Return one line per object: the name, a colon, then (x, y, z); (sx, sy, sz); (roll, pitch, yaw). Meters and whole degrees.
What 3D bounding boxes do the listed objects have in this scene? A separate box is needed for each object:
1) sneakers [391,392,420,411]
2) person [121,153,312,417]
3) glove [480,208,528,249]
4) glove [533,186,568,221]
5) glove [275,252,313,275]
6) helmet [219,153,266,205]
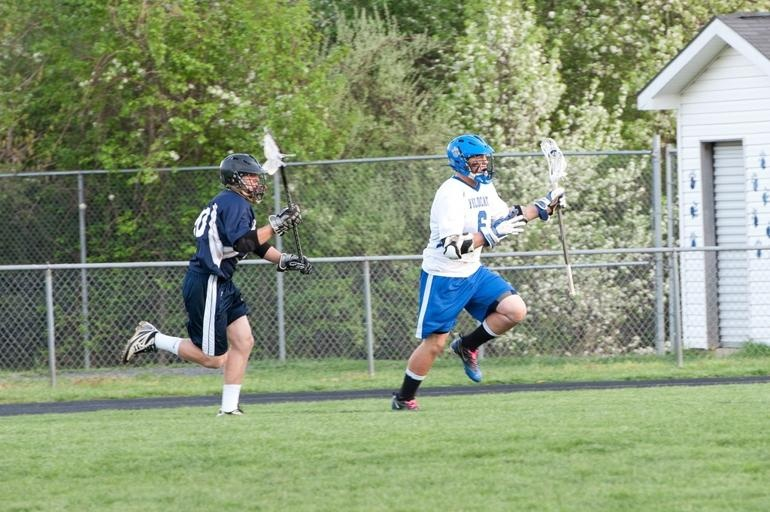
sneakers: (0.223, 1.777, 14.769); (0.358, 0.172, 0.157); (-3, -6, 8)
person: (-1.956, 0.341, 14.551); (1.852, 3.092, 0.780); (0, -3, 4)
glove: (1.464, -0.321, 14.741); (0.636, 0.402, 0.262); (-24, -19, 1)
glove: (2.023, -0.602, 14.873); (0.299, 0.493, 0.205); (48, 0, 32)
glove: (-1.088, 0.094, 14.714); (0.368, 0.124, 0.250); (1, -10, -13)
helmet: (-1.729, -0.941, 14.619); (0.673, 0.483, 0.479); (4, 0, 16)
